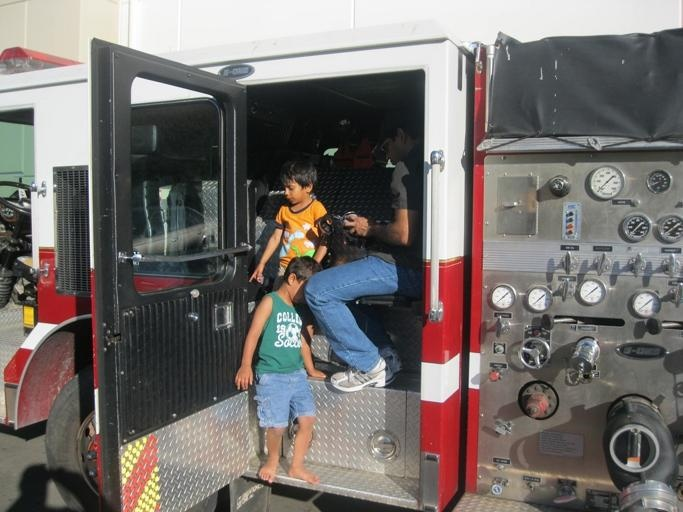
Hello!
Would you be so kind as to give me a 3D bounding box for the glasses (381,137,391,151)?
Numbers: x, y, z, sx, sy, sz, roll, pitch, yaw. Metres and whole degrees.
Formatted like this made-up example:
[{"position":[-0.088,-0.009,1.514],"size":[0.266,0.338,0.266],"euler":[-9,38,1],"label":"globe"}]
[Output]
[{"position":[0.312,-0.785,4.705],"size":[0.049,0.025,0.074],"euler":[39,-13,-9],"label":"glasses"}]
